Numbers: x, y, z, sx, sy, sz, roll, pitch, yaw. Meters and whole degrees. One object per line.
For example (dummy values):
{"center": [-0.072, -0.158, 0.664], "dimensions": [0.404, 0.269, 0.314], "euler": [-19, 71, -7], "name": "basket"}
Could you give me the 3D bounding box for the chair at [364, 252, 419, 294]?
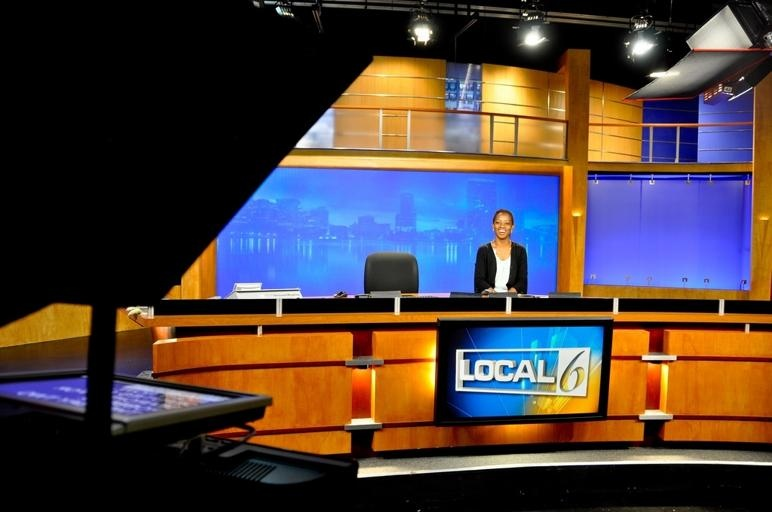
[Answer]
{"center": [0.029, 0.155, 6.042], "dimensions": [0.374, 0.491, 0.418], "euler": [0, -2, -3], "name": "chair"}
